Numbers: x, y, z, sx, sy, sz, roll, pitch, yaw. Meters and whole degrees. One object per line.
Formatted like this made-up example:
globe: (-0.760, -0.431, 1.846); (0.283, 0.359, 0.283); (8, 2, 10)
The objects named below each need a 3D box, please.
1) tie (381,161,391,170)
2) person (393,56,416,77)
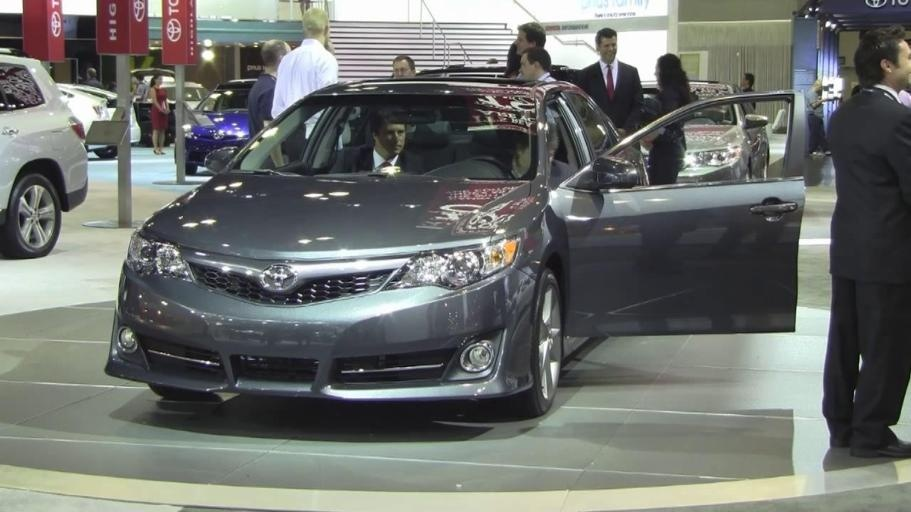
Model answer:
tie: (-0.549, -0.726, 5.402); (0.055, 0.071, 0.077); (-3, -17, 3)
person: (-0.720, -2.722, 9.622); (0.262, 0.292, 0.819); (-1, 13, -6)
